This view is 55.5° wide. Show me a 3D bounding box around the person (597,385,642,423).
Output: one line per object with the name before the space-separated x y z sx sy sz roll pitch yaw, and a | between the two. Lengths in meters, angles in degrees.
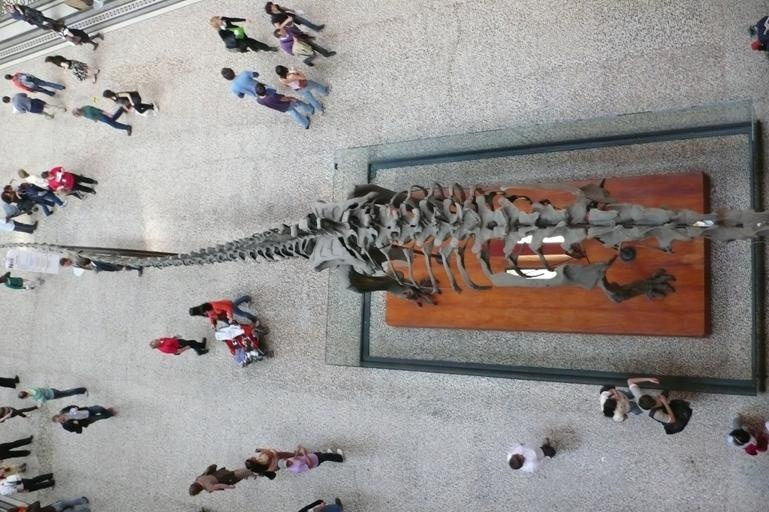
person | 2.729 1.718 8.517 0.284 0.227 0.808 31 23 20
